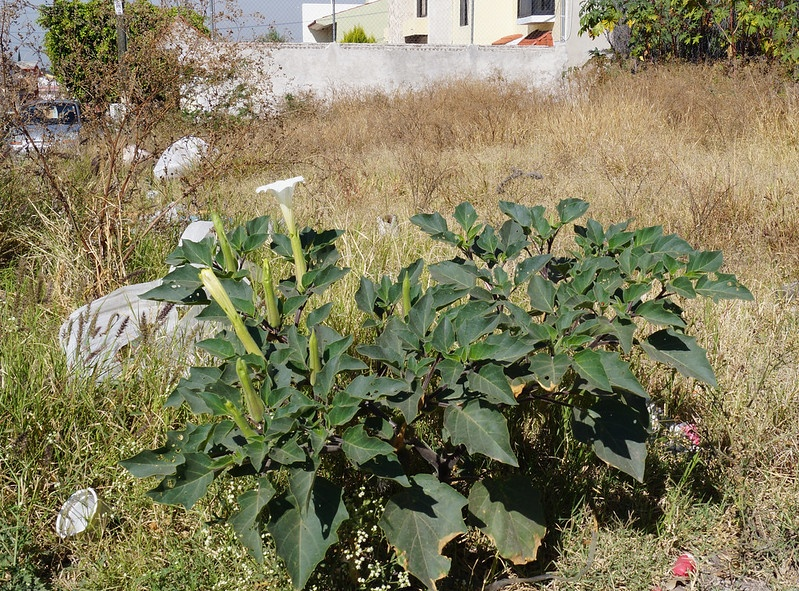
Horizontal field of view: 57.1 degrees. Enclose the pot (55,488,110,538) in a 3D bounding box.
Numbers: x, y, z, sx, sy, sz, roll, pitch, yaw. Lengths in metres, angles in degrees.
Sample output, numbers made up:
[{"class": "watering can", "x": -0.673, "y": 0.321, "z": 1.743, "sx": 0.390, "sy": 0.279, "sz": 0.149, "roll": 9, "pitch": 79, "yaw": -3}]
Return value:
[{"class": "pot", "x": -1.495, "y": 1.044, "z": 3.519, "sx": 0.200, "sy": 0.240, "sz": 0.162, "roll": -9, "pitch": -28, "yaw": 23}]
